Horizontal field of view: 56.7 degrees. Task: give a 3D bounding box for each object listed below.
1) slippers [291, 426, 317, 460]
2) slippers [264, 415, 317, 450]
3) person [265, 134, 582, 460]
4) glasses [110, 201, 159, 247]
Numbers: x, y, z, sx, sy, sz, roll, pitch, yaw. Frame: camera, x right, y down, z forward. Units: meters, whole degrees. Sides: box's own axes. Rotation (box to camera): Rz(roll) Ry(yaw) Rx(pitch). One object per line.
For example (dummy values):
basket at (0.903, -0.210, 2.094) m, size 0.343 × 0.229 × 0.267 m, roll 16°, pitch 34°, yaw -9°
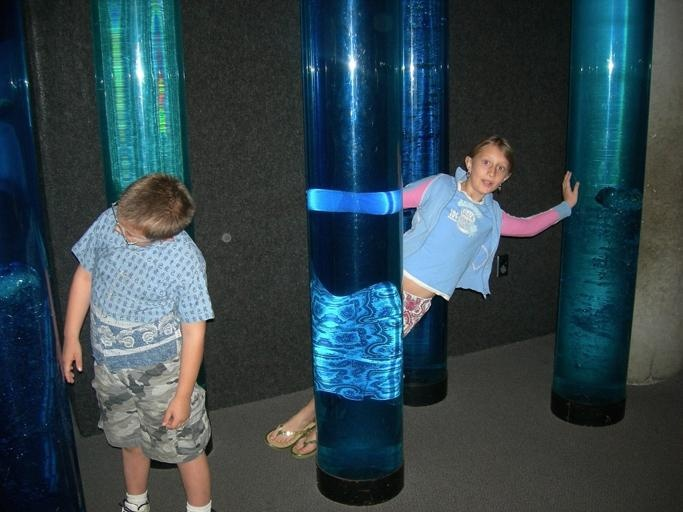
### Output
slippers at (-0.164, 0.910, 3.090) m, size 0.093 × 0.059 × 0.256 m, roll 36°, pitch 13°, yaw 15°
slippers at (-0.239, 0.874, 3.133) m, size 0.277 × 0.048 × 0.109 m, roll -21°, pitch 32°, yaw -29°
person at (0.360, 0.217, 3.063) m, size 0.992 × 1.855 × 0.517 m, roll 26°, pitch 20°, yaw -22°
glasses at (-0.744, -0.113, 2.273) m, size 0.144 × 0.050 × 0.184 m, roll -15°, pitch 67°, yaw -31°
